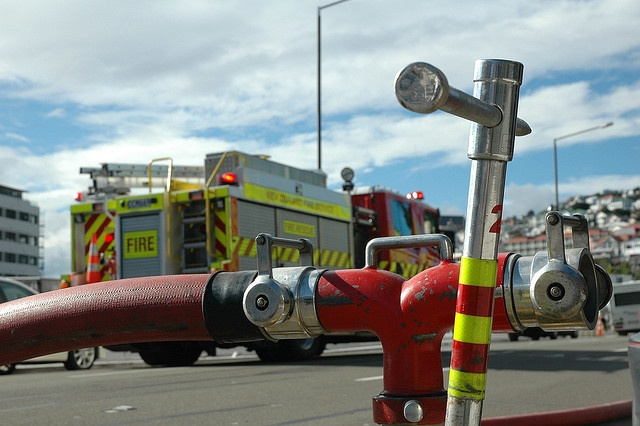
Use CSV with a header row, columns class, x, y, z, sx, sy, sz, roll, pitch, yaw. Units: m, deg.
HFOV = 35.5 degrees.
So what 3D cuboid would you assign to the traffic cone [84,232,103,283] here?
class,x,y,z,sx,sy,sz,roll,pitch,yaw
traffic cone,-3.636,0.713,16.183,0.229,0.784,0.432,-1,-5,-12
